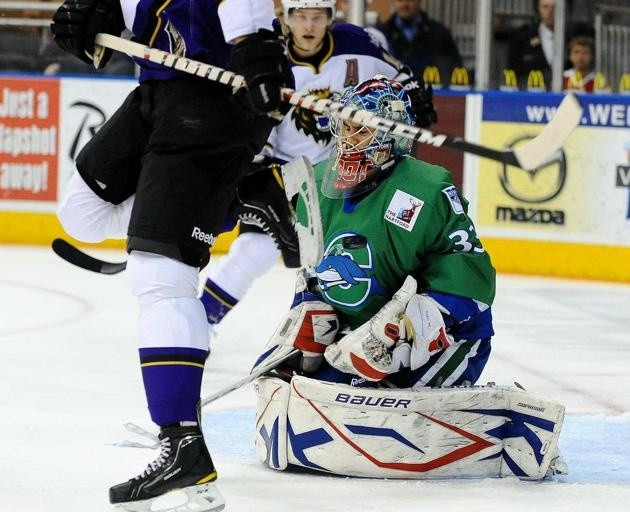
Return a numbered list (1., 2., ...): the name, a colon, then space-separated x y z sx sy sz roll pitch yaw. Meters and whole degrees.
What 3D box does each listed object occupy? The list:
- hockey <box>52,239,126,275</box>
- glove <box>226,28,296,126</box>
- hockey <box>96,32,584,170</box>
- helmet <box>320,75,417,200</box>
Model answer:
1. hockey: -1.025 0.005 4.595 0.393 0.110 0.150 5 -37 -5
2. glove: -0.125 -0.463 2.675 0.166 0.213 0.095 -22 -12 12
3. hockey: 0.055 -0.413 2.698 1.250 0.338 0.259 2 9 10
4. helmet: 0.156 -0.349 2.928 0.355 0.307 0.274 -3 6 -28
